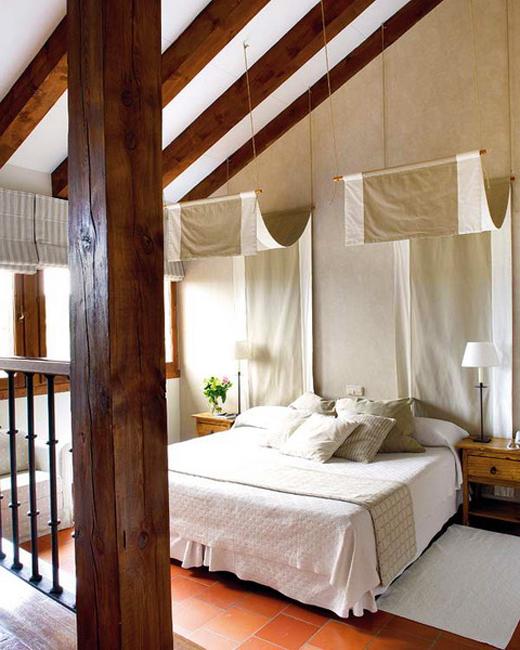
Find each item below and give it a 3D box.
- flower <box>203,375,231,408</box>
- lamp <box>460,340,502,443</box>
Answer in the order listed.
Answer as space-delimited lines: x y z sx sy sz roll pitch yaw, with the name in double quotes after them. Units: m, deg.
-0.410 0.626 5.091 0.256 0.339 0.297 2 -6 2 "flower"
1.551 0.456 3.653 0.251 0.698 0.345 -1 0 24 "lamp"
